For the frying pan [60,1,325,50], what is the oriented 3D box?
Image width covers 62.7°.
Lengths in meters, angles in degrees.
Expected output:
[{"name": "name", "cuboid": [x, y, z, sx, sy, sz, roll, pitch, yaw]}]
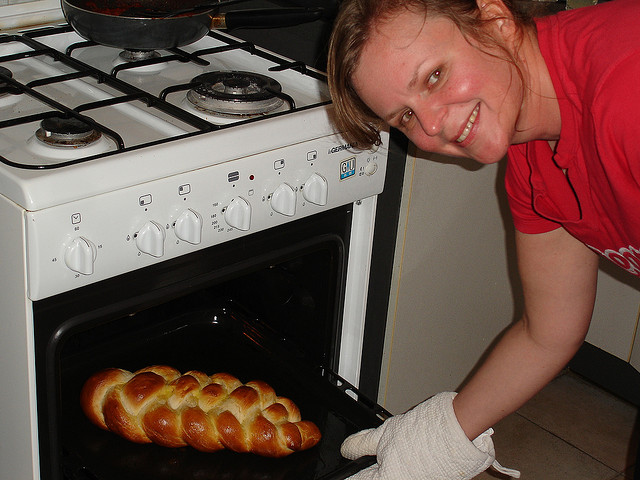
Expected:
[{"name": "frying pan", "cuboid": [-0.282, -0.498, 1.077, 0.451, 0.121, 0.438, -14, 32, -26]}]

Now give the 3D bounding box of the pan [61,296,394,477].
[{"name": "pan", "cuboid": [-0.154, 0.281, 1.139, 0.620, 0.254, 0.399, 23, 25, 38]}]

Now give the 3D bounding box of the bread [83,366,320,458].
[{"name": "bread", "cuboid": [-0.226, 0.317, 1.013, 0.457, 0.097, 0.151, 4, 40, 2]}]
